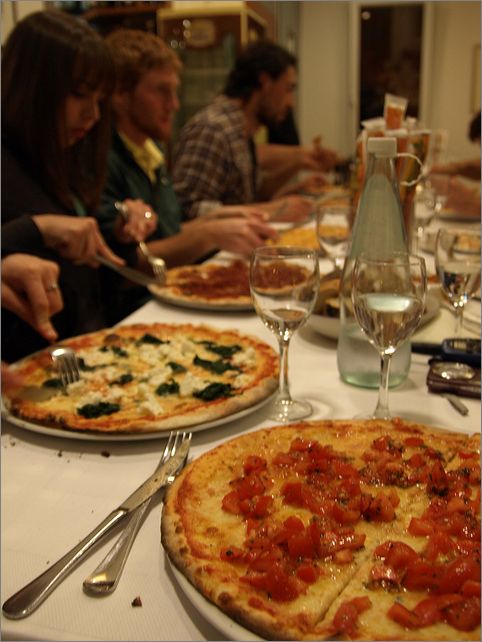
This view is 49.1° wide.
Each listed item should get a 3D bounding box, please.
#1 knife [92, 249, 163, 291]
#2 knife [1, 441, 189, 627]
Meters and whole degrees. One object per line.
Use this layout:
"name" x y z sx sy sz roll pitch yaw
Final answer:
"knife" -0.448 -0.198 2.014 0.361 0.047 0.052 37 -10 -26
"knife" -0.134 0.208 0.678 0.046 0.038 0.462 15 20 13
